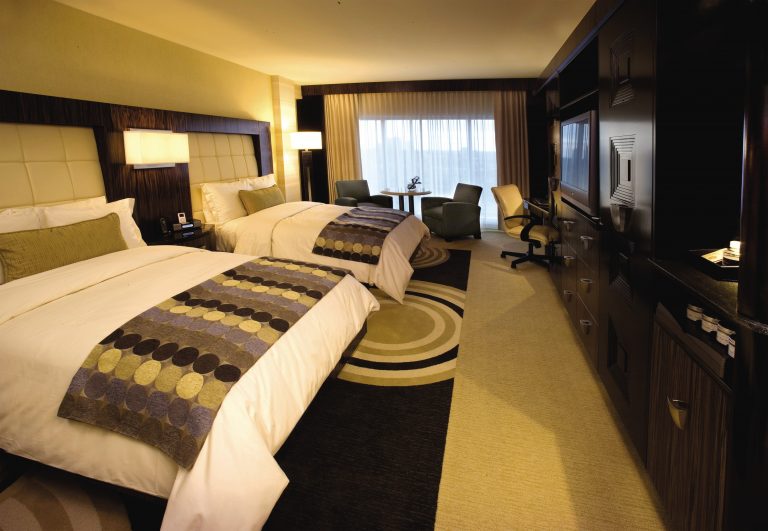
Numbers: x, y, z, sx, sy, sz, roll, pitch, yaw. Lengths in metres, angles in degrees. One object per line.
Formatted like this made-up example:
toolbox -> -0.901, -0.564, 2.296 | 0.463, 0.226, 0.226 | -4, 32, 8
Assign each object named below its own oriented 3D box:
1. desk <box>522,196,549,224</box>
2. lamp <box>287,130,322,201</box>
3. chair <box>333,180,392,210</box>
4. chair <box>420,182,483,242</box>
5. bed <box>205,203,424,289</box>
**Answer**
desk -> 1.962, -0.726, 6.371 | 0.342, 0.262, 0.570 | -6, 24, -1
lamp -> -1.293, -1.671, 8.273 | 0.513, 1.204, 0.881 | -4, 15, -6
chair -> -0.405, -1.206, 8.211 | 0.696, 0.844, 0.674 | -8, 14, -38
chair -> 1.084, -0.877, 7.867 | 0.719, 0.832, 0.855 | -10, 17, -25
bed -> -0.694, -0.246, 5.233 | 1.324, 0.387, 1.294 | 10, 23, 13
